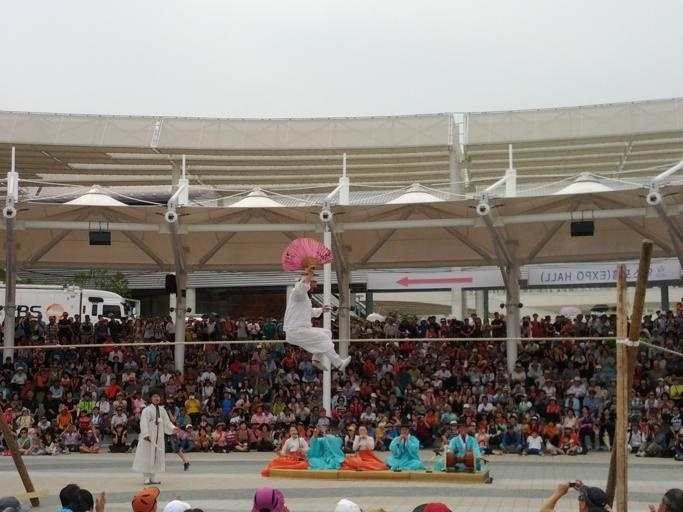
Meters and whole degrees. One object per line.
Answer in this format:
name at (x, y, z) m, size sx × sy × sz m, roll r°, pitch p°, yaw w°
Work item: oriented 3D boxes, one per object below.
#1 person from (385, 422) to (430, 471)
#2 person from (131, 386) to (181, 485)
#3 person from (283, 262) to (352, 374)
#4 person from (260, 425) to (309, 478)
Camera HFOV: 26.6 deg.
person at (1.706, 5.259, 39.822) m, size 1.081 × 1.115 × 0.932 m, roll -1°, pitch -5°, yaw 5°
person at (-5.136, 4.850, 38.888) m, size 1.149 × 2.371 × 1.059 m, roll 2°, pitch -4°, yaw -38°
person at (-0.798, 1.544, 35.998) m, size 1.126 × 2.432 × 1.632 m, roll -6°, pitch -9°, yaw 28°
person at (-1.525, 5.350, 40.088) m, size 1.360 × 1.399 × 1.091 m, roll 2°, pitch -9°, yaw -24°
